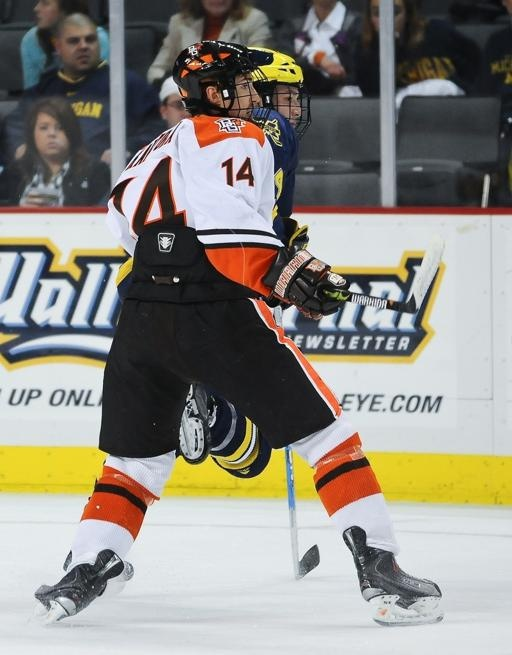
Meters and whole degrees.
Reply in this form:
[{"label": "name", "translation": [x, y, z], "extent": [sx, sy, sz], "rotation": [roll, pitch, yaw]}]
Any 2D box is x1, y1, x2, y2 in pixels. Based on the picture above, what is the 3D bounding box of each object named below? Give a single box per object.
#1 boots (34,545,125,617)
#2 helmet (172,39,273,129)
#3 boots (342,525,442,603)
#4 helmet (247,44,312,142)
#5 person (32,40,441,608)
[{"label": "boots", "translation": [-0.435, 0.642, 2.439], "extent": [0.108, 0.123, 0.309], "rotation": [-10, 0, 33]}, {"label": "helmet", "translation": [-0.113, -0.668, 2.581], "extent": [0.278, 0.168, 0.187], "rotation": [-7, 7, 0]}, {"label": "boots", "translation": [0.346, 0.613, 2.428], "extent": [0.292, 0.169, 0.095], "rotation": [22, -27, -34]}, {"label": "helmet", "translation": [-0.003, -0.769, 3.110], "extent": [0.316, 0.230, 0.208], "rotation": [-1, 3, -9]}, {"label": "person", "translation": [-0.114, 0.054, 2.452], "extent": [0.891, 1.488, 0.891], "rotation": [-7, 25, -10]}]
